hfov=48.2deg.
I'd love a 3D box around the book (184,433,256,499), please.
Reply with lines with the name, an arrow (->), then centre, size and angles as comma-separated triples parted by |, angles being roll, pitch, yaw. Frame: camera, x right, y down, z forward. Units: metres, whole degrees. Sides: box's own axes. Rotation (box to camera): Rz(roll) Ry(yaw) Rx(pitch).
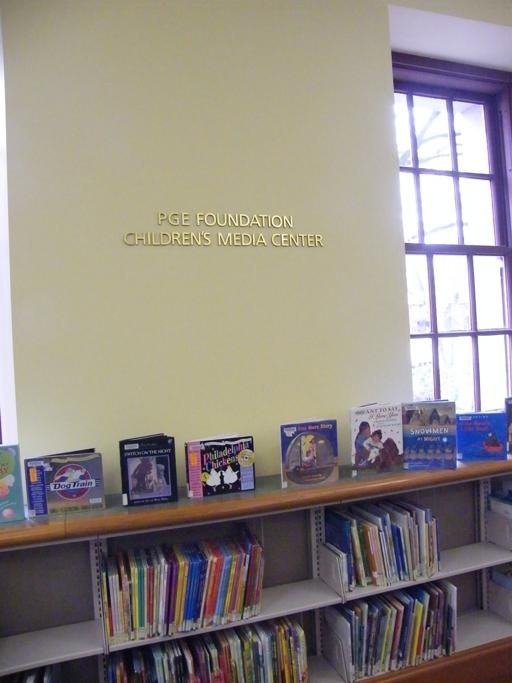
book -> -0.127, 0.452, 2.051 | 0.197, 0.171, 0.082 | -1, -3, -22

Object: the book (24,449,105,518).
book -> -0.634, 0.481, 1.989 | 0.280, 0.189, 0.160 | -4, 0, -10

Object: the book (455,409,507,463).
book -> 0.931, 0.397, 2.362 | 0.205, 0.199, 0.069 | -1, -7, 2

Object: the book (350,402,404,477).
book -> 0.479, 0.395, 2.269 | 0.253, 0.347, 0.049 | 1, -3, -20

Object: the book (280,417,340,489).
book -> 0.201, 0.427, 2.161 | 0.224, 0.225, 0.031 | -1, -1, -22

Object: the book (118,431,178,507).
book -> -0.387, 0.446, 2.090 | 0.207, 0.217, 0.217 | -3, 5, -18
